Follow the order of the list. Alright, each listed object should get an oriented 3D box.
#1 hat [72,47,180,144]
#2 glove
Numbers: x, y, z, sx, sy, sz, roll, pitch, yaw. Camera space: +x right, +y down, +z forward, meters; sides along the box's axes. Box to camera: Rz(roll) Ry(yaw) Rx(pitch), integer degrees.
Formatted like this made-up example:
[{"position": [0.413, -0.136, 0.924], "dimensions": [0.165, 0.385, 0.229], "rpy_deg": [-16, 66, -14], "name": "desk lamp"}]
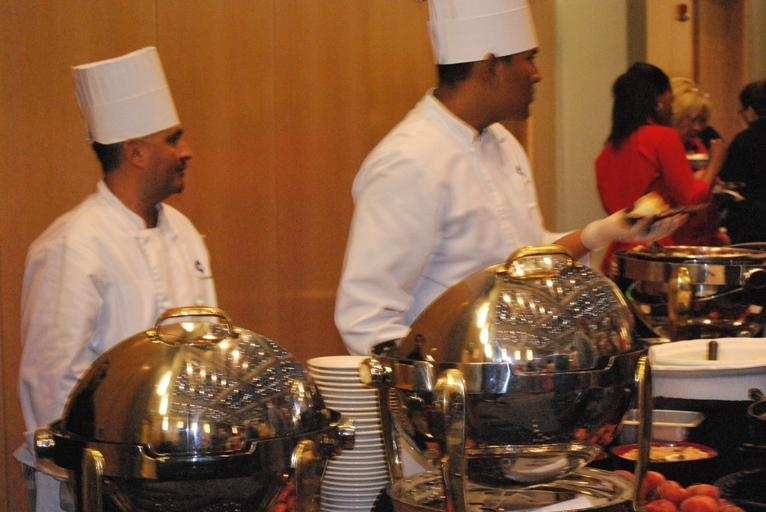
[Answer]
[{"position": [-0.949, -0.597, 4.550], "dimensions": [0.391, 0.302, 0.324], "rpy_deg": [-11, 8, 11], "name": "hat"}, {"position": [0.774, -0.073, 3.835], "dimensions": [0.241, 0.075, 0.140], "rpy_deg": [-7, 9, 34], "name": "glove"}]
